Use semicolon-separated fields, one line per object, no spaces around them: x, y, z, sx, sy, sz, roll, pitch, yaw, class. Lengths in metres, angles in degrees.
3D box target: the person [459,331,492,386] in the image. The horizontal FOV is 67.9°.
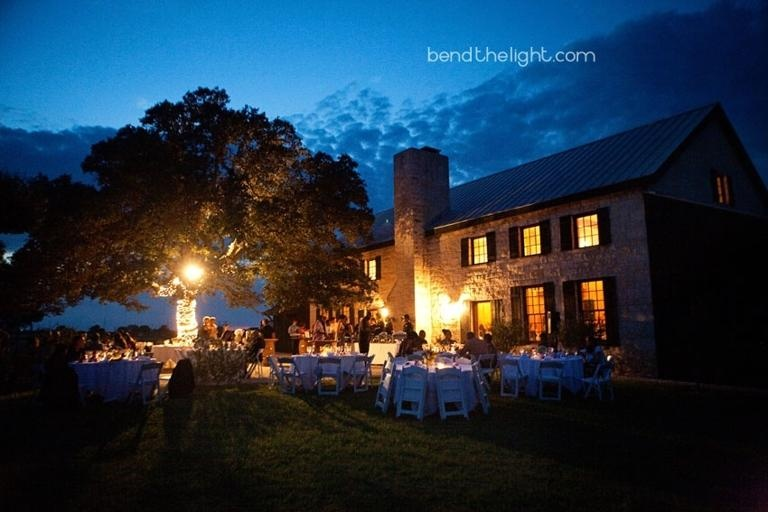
2.882;3.063;17.338;0.914;0.792;1.289;-4;-56;9;person
